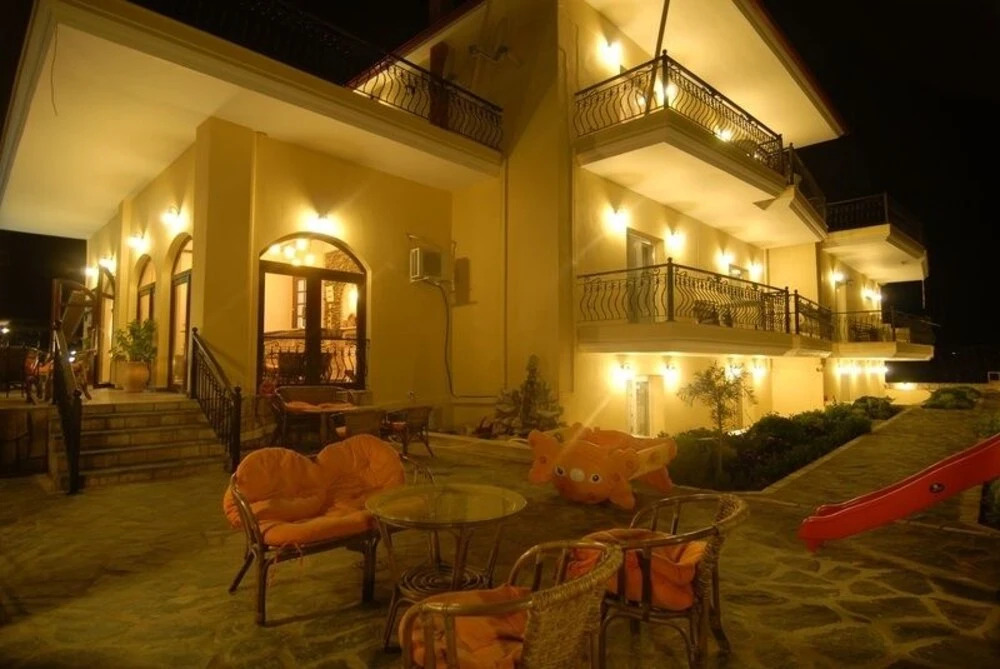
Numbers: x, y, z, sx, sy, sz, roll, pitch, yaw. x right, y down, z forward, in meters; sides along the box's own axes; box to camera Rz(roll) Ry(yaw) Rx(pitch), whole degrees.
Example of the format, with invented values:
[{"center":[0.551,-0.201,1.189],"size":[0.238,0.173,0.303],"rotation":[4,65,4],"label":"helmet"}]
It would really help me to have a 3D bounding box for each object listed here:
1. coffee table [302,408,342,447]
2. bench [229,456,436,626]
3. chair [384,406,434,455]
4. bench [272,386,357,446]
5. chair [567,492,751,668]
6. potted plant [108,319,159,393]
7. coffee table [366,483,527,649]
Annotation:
[{"center":[-3.111,1.679,12.886],"size":[0.757,0.785,0.770],"rotation":[-5,-7,40],"label":"coffee table"},{"center":[-2.322,2.343,8.773],"size":[2.257,1.604,1.711],"rotation":[-5,9,-41],"label":"bench"},{"center":[-1.761,1.856,13.113],"size":[0.875,1.076,0.863],"rotation":[-1,-16,-29],"label":"chair"},{"center":[-3.624,1.454,13.432],"size":[1.150,0.908,1.476],"rotation":[-3,-4,42],"label":"bench"},{"center":[1.964,2.695,8.504],"size":[1.868,2.304,1.989],"rotation":[0,-5,16],"label":"chair"},{"center":[-7.784,0.462,14.804],"size":[0.820,1.440,2.324],"rotation":[1,-3,-28],"label":"potted plant"},{"center":[-0.706,2.714,8.668],"size":[1.558,1.373,1.707],"rotation":[0,1,-11],"label":"coffee table"}]
